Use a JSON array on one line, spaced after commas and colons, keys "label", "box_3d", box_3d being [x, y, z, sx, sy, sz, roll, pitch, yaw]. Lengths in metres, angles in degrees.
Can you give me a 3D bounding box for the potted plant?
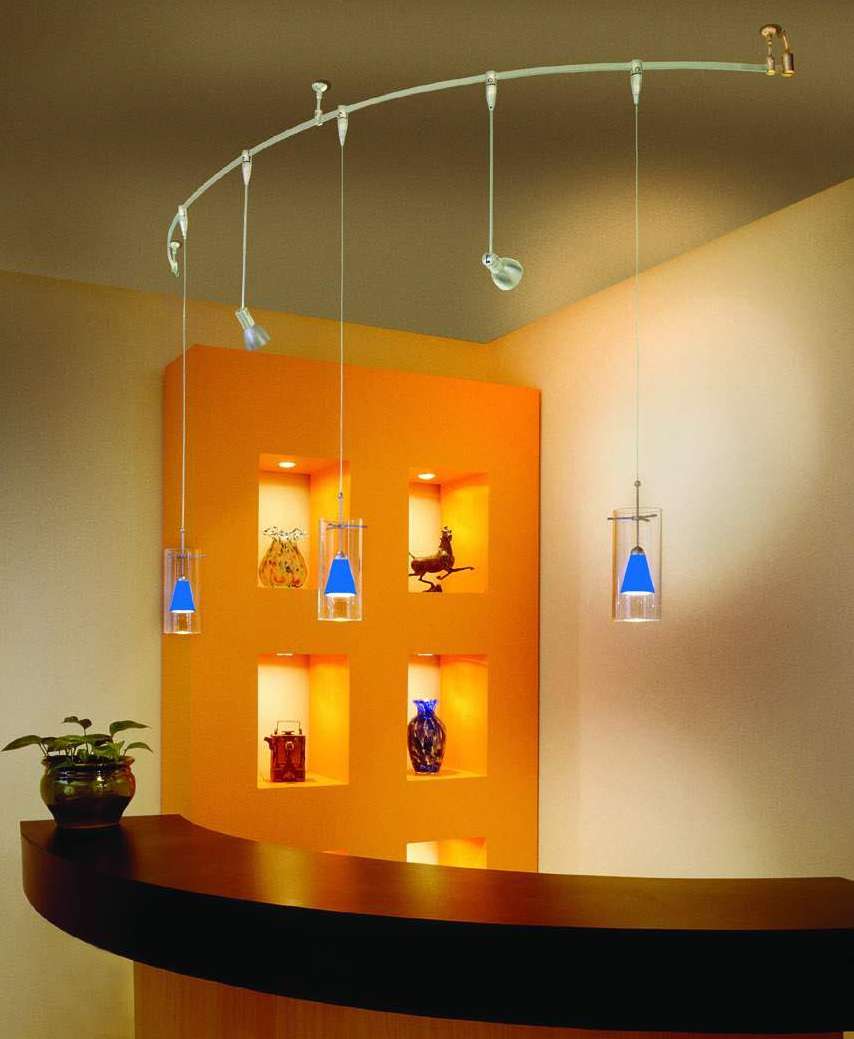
[{"label": "potted plant", "box_3d": [-1.043, 0.754, 3.788, 0.468, 0.475, 0.516, 4, -9, -39]}]
